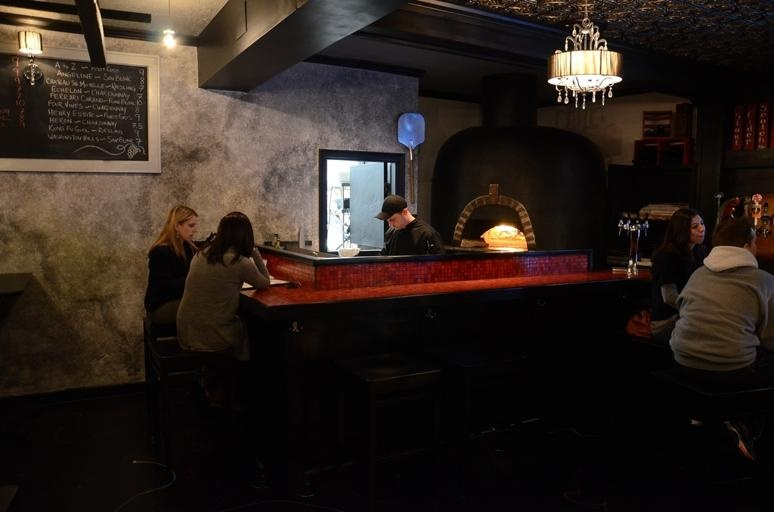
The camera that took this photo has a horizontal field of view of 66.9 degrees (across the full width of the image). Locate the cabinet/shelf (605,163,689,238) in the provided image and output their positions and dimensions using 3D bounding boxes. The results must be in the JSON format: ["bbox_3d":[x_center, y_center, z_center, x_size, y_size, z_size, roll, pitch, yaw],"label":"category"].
[{"bbox_3d":[3.383,-0.753,7.585,0.400,1.032,1.119,2,-2,-42],"label":"cabinet/shelf"}]

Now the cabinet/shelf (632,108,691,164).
[{"bbox_3d":[3.628,-1.572,7.693,0.710,0.804,0.496,1,7,24],"label":"cabinet/shelf"}]

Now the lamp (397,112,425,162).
[{"bbox_3d":[0.302,-1.516,7.480,0.311,0.617,0.112,0,10,-16],"label":"lamp"}]

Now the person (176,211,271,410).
[{"bbox_3d":[-1.325,0.299,4.725,0.735,1.283,0.254,-3,7,-16],"label":"person"}]

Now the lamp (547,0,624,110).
[{"bbox_3d":[1.926,-1.952,5.772,0.599,0.879,1.578,1,7,17],"label":"lamp"}]

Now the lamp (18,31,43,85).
[{"bbox_3d":[-3.437,-1.927,5.690,0.193,0.481,0.288,-5,7,-28],"label":"lamp"}]

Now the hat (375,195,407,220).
[{"bbox_3d":[0.034,-0.519,6.252,0.321,0.177,0.213,-14,16,-22],"label":"hat"}]
